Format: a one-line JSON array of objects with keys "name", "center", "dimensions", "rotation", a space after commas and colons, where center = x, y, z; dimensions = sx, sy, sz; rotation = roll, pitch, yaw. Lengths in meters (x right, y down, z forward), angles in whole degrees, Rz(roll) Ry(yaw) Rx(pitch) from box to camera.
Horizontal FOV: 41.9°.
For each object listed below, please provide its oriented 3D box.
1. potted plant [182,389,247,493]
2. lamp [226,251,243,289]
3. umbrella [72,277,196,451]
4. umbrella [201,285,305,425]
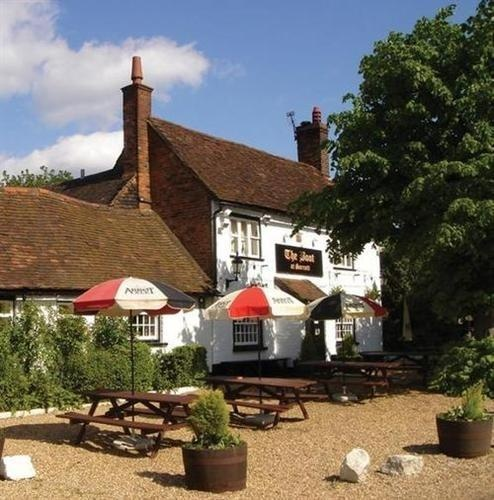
[{"name": "potted plant", "center": [-0.451, 2.590, 8.734], "dimensions": [0.864, 1.275, 0.473], "rotation": [-1, -6, -4]}, {"name": "lamp", "center": [-0.447, 0.667, 20.501], "dimensions": [0.555, 1.087, 1.171], "rotation": [-1, -6, -2]}, {"name": "umbrella", "center": [-2.318, 1.950, 12.054], "dimensions": [2.138, 2.784, 3.398], "rotation": [1, -7, -25]}, {"name": "umbrella", "center": [0.148, 2.168, 14.139], "dimensions": [2.945, 2.969, 2.631], "rotation": [-1, -6, -4]}]
